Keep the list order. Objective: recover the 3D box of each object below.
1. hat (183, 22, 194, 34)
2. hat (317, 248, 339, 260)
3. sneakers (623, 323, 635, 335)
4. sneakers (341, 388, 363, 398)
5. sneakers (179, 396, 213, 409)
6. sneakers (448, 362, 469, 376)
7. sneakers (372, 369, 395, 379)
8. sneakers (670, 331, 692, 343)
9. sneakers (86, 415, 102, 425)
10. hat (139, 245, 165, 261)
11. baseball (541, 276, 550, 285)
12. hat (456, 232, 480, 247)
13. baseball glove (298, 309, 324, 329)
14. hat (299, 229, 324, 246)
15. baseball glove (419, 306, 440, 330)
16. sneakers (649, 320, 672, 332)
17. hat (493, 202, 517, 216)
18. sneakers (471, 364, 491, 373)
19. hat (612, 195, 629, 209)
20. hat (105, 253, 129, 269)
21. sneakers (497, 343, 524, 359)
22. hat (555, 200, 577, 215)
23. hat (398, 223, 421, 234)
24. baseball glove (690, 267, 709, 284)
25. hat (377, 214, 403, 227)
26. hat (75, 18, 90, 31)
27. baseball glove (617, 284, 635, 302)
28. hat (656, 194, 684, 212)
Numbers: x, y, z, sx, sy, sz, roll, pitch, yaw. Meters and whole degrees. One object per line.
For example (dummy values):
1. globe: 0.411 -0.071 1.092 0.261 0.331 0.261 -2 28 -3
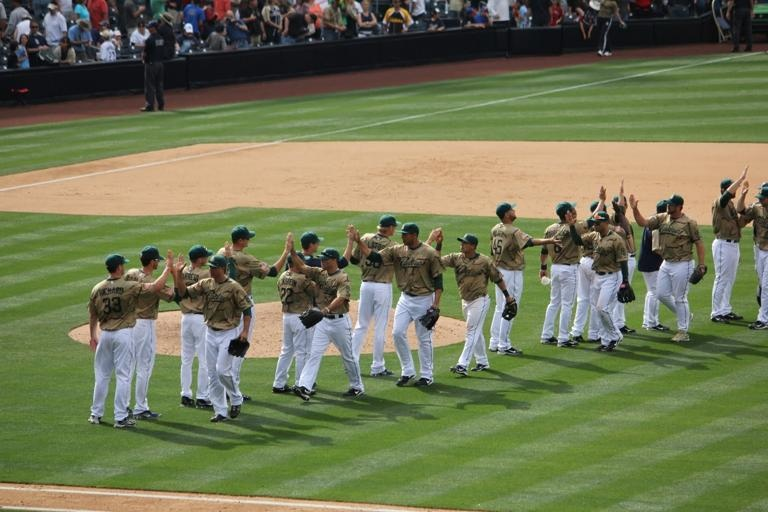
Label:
1. hat: -6.904 -7.962 60.721 0.361 0.456 0.956 -3 4 -5
2. hat: -1.208 -0.008 37.855 0.390 0.143 0.236 3 14 -2
3. sneakers: 5.706 1.774 40.675 0.452 0.147 0.137 -8 17 -25
4. sneakers: -0.744 3.048 38.063 0.512 0.163 0.162 1 4 -5
5. sneakers: -4.132 3.239 37.812 0.754 0.254 0.240 2 2 -6
6. sneakers: 1.651 2.591 38.830 0.537 0.208 0.176 9 8 7
7. sneakers: -0.046 2.669 39.001 0.544 0.198 0.167 -3 23 -7
8. sneakers: 6.860 1.883 40.136 0.414 0.258 0.276 -2 4 8
9. sneakers: -6.235 3.541 37.196 0.277 0.218 0.187 -3 4 -10
10. hat: -5.015 -0.041 37.384 0.507 0.218 0.321 -10 18 -38
11. baseball: 3.747 0.596 40.354 0.208 0.157 0.188 -14 32 -23
12. hat: 1.884 -0.330 38.652 0.455 0.178 0.279 7 7 -11
13. baseball glove: -1.575 1.386 37.548 0.540 0.443 0.455 -2 4 2
14. hat: -1.569 -0.332 38.175 0.542 0.250 0.352 -13 28 -25
15. baseball glove: 0.966 1.393 38.097 0.431 0.499 0.290 -2 5 13
16. sneakers: 6.477 1.730 40.794 0.620 0.194 0.177 -1 7 -2
17. hat: 2.769 -1.019 39.450 0.386 0.321 0.237 -3 4 -7
18. sneakers: 2.166 2.565 39.049 0.461 0.155 0.139 1 1 -9
19. hat: 5.492 -1.226 40.379 0.353 0.240 0.435 5 38 20
20. hat: -5.735 0.142 37.111 0.318 0.216 0.421 27 52 35
21. sneakers: 2.868 2.221 39.718 0.639 0.216 0.210 -2 8 -6
22. hat: 4.171 -1.013 39.816 0.392 0.397 0.463 -2 4 6
23. hat: 0.557 -0.573 38.474 0.354 0.267 0.566 -2 4 4
24. baseball glove: 7.245 0.457 39.980 0.375 0.413 0.409 -1 5 22
25. hat: 0.151 -0.711 38.727 0.507 0.222 0.367 -6 22 -38
26. hat: -10.176 -7.801 58.501 0.449 0.381 0.384 -4 5 -26
27. baseball glove: 5.534 0.889 39.766 0.435 0.413 0.317 1 6 39
28. hat: 6.721 -1.218 40.331 0.628 0.249 0.352 -4 0 -29
